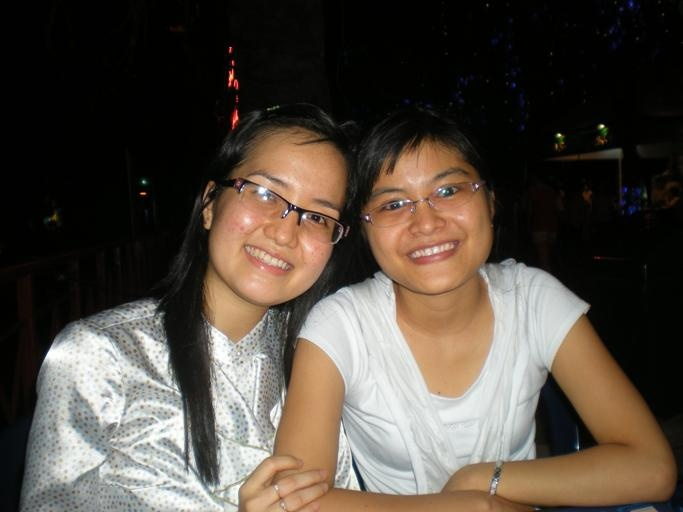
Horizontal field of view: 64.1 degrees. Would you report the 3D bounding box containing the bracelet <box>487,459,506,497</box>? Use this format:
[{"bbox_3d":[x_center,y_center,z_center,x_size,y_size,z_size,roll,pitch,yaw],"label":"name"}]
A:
[{"bbox_3d":[0.817,1.173,2.860,0.032,0.137,0.090,21,-14,-15],"label":"bracelet"}]
